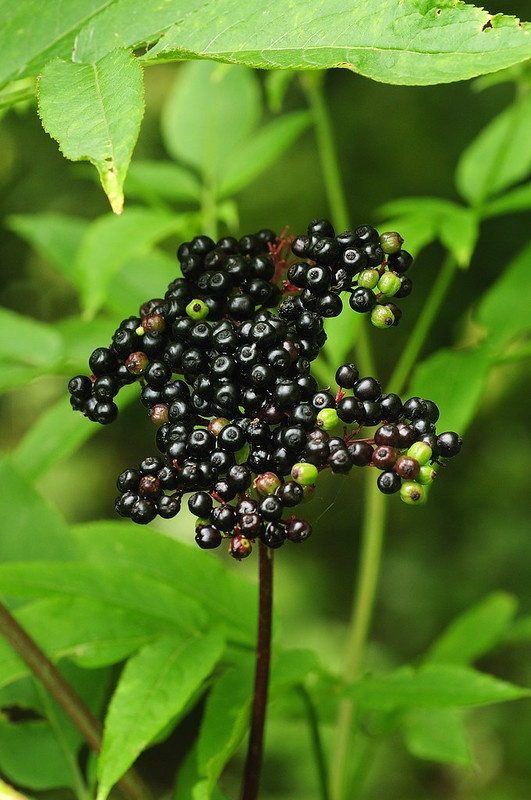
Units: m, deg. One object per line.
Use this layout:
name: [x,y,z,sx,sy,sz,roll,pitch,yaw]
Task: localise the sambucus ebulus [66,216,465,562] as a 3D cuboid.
sambucus ebulus: [0.001,0.002,0.524,0.227,0.219,0.202,-23,21,-25]
